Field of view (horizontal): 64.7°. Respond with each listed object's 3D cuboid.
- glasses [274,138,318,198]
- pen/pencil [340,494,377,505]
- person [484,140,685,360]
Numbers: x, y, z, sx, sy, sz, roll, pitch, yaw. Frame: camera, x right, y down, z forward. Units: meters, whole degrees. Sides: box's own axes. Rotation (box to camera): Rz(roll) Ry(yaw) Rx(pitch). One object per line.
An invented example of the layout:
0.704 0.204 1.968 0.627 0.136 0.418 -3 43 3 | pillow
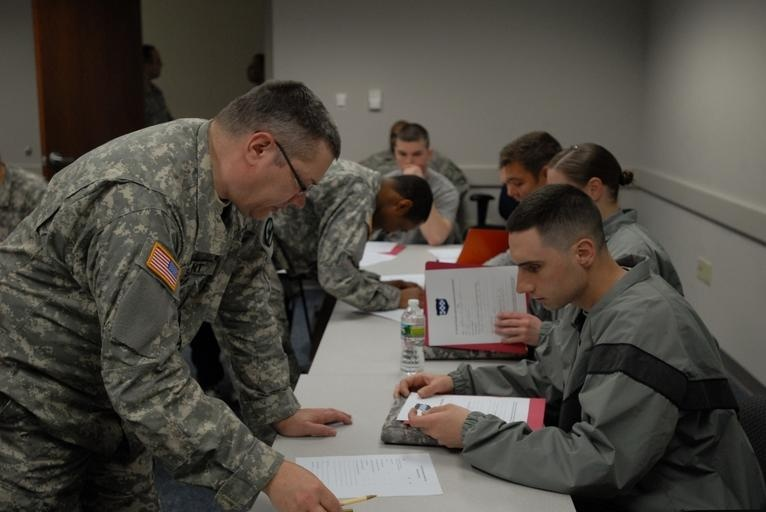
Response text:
-0.255 -0.250 1.706 0.032 0.120 0.116 -24 -4 -2 | glasses
-0.070 0.694 1.715 0.118 0.017 0.016 -3 14 -29 | pen/pencil
0.860 0.003 2.772 0.984 0.940 0.746 -8 6 -10 | person
